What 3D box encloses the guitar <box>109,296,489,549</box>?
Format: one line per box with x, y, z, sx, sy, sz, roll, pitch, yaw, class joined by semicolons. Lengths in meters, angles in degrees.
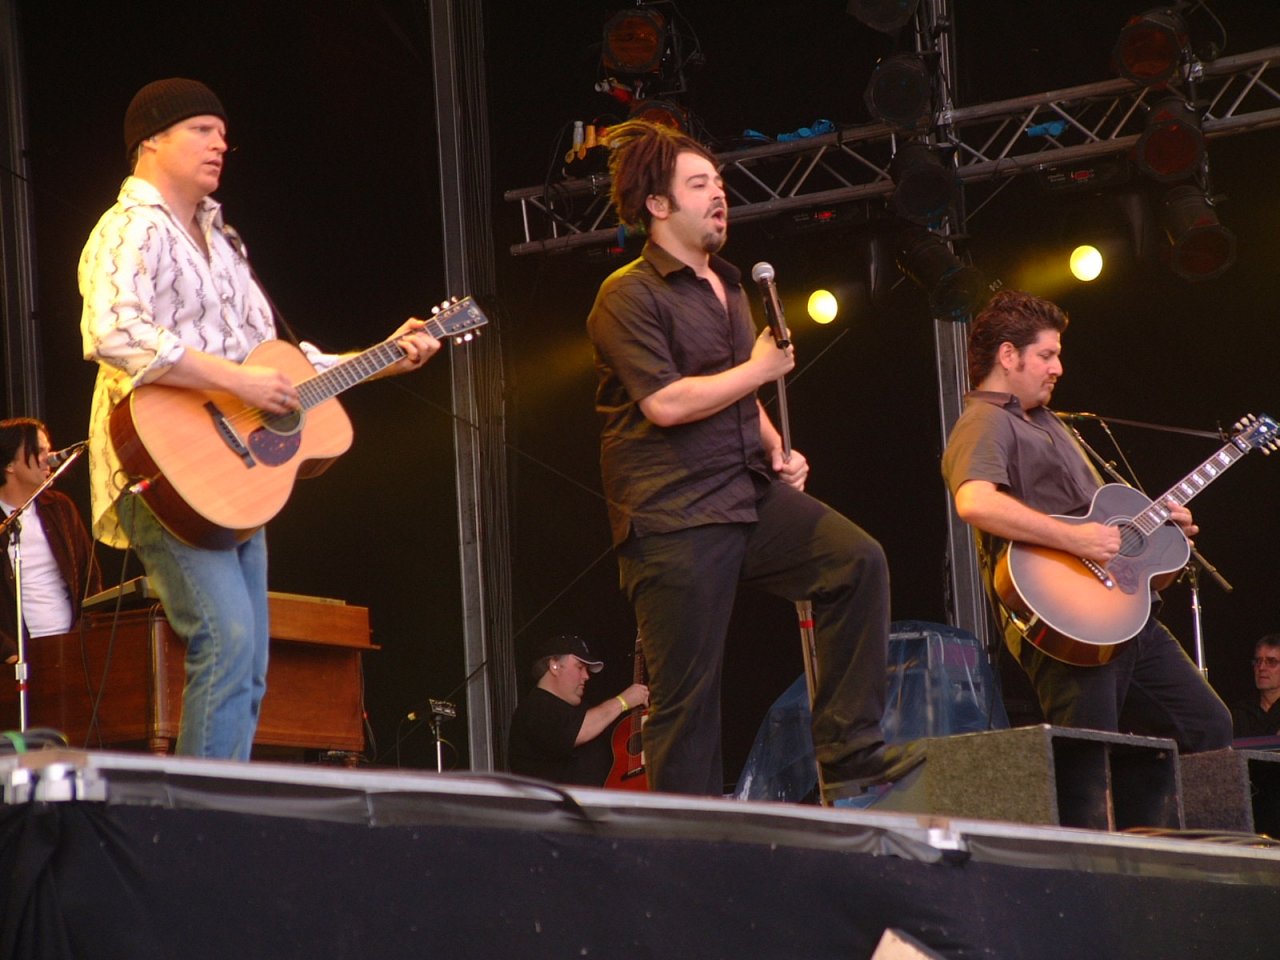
-1.084;-0.143;4.939;0.115;0.362;0.863;-21;11;46;guitar

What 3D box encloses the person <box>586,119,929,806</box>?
0.279;-0.074;5.058;1.045;1.372;0.765;5;3;9;person

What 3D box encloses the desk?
-1.633;0.734;6.302;1.002;0.617;0.775;-3;-4;44;desk

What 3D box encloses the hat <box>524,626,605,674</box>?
-0.347;0.860;8.758;0.398;0.208;0.265;-1;-2;-20;hat

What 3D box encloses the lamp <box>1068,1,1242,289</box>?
2.653;-1.665;8.372;0.636;1.114;0.651;6;3;20;lamp

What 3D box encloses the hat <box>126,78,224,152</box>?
-1.349;-1.051;4.884;0.229;0.179;0.218;-6;7;6;hat

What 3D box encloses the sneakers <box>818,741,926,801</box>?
0.655;0.844;4.849;0.132;0.225;0.307;3;4;-36;sneakers

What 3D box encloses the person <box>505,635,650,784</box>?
-0.282;1.347;8.434;0.629;1.072;0.499;-4;-6;18;person

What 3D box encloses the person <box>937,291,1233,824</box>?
1.376;0.227;5.381;0.753;1.877;0.271;37;-46;-27;person

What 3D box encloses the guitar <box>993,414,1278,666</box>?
1.691;0.188;5.808;1.182;0.460;0.163;-38;-3;-38;guitar

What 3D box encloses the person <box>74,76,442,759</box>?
-1.215;-0.204;4.736;0.738;1.855;0.590;7;3;39;person
